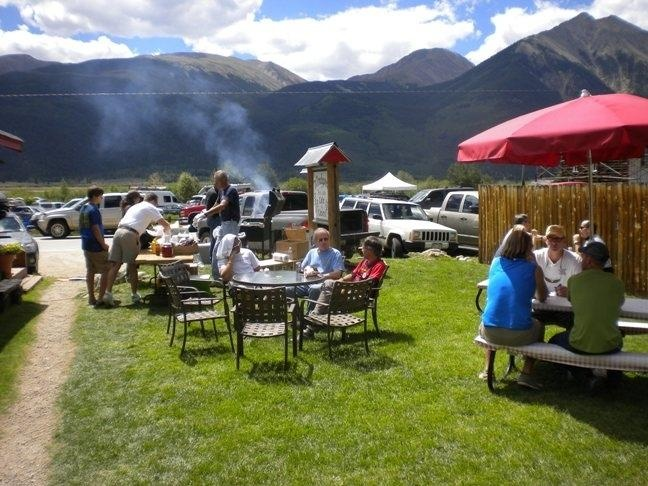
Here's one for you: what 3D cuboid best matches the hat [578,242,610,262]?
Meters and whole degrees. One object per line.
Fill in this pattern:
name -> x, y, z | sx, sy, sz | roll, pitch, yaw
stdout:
hat -> 3.002, 0.081, 6.192 | 0.190, 0.158, 0.274 | -1, 16, -16

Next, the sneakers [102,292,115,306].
sneakers -> -3.998, 1.029, 10.240 | 0.233, 0.263, 0.119 | 0, 12, 6

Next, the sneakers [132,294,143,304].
sneakers -> -3.572, 1.061, 10.588 | 0.158, 0.211, 0.454 | 0, -1, -21

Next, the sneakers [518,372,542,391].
sneakers -> 2.533, 1.659, 6.696 | 0.371, 0.162, 0.140 | 13, -4, -24

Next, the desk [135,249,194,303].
desk -> -3.186, 0.748, 10.551 | 1.088, 0.775, 1.158 | -1, 3, 5

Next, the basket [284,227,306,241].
basket -> -0.613, -0.191, 12.079 | 0.305, 0.216, 0.327 | 2, 5, 17

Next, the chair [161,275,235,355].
chair -> -1.935, 1.006, 8.291 | 0.827, 1.231, 0.670 | -5, 5, -28

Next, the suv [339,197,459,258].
suv -> 2.118, -0.505, 16.881 | 1.659, 1.189, 3.095 | -2, 7, -29

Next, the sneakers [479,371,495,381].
sneakers -> 2.011, 1.629, 6.834 | 0.103, 0.114, 0.238 | -3, -5, -14

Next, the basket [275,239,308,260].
basket -> -0.687, 0.116, 11.796 | 0.435, 0.302, 0.446 | 5, 8, 35

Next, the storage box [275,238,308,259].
storage box -> -0.681, 0.114, 11.742 | 0.408, 0.294, 0.428 | 1, 3, 12

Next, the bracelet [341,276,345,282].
bracelet -> 0.298, 0.573, 8.926 | 0.076, 0.041, 0.109 | -9, 5, 1

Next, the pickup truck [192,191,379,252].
pickup truck -> -0.767, -0.700, 15.380 | 2.069, 1.706, 3.728 | -6, 9, -44

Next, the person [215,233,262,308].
person -> -1.390, 0.432, 8.995 | 0.473, 1.134, 0.822 | -11, 10, 43

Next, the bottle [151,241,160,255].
bottle -> -3.243, 0.101, 10.817 | 0.212, 0.266, 0.223 | 1, 1, 0
